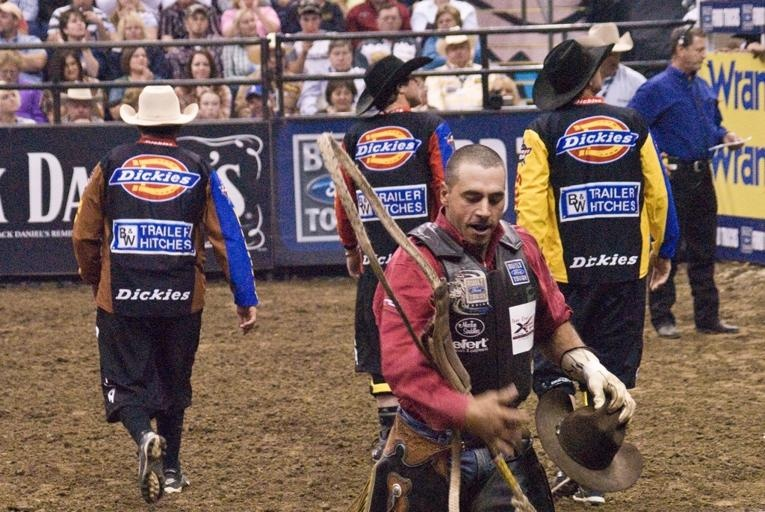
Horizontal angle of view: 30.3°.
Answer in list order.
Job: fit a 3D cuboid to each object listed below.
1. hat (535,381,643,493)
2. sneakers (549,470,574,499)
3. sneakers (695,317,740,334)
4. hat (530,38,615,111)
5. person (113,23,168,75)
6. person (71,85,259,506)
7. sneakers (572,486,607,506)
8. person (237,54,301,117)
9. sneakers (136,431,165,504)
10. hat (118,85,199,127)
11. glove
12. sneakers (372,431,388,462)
[{"bbox_3d":[1.503,1.320,10.356,0.713,0.680,0.281,-35,-3,-46],"label":"hat"},{"bbox_3d":[1.459,1.866,11.549,0.155,0.204,0.462,-41,-22,-9],"label":"sneakers"},{"bbox_3d":[3.412,0.715,14.691,0.495,0.202,0.164,-3,5,1],"label":"sneakers"},{"bbox_3d":[1.582,-1.520,11.936,0.641,0.581,0.366,0,7,6],"label":"hat"},{"bbox_3d":[-2.964,-2.589,17.351,0.652,0.822,0.326,-1,0,-2],"label":"person"},{"bbox_3d":[-1.859,0.302,11.873,1.258,3.371,0.621,-5,8,-30],"label":"person"},{"bbox_3d":[1.693,1.971,11.724,0.361,0.177,0.142,-2,1,22],"label":"sneakers"},{"bbox_3d":[-1.350,-2.014,16.809,0.856,0.436,0.618,-11,-6,43],"label":"person"},{"bbox_3d":[-1.852,1.701,11.365,0.198,0.544,0.274,4,-5,-35],"label":"sneakers"},{"bbox_3d":[-1.883,-1.296,12.065,0.711,0.280,0.772,-4,13,-21],"label":"hat"},{"bbox_3d":[1.566,0.908,10.314,0.626,0.364,0.251,42,-2,36],"label":"glove"},{"bbox_3d":[-0.031,1.617,12.054,0.133,0.311,0.107,8,-11,1],"label":"sneakers"}]
